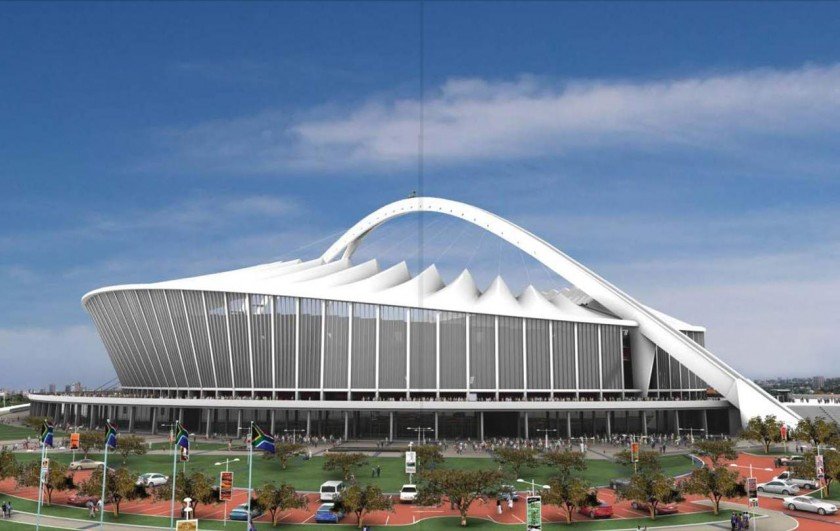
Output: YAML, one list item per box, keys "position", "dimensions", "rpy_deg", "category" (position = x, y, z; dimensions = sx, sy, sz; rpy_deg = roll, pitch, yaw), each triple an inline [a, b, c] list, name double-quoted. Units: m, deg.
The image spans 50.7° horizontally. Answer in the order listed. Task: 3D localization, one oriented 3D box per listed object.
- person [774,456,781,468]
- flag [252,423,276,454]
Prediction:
- position: [37.156, 20.334, 91.542]
  dimensions: [0.508, 0.885, 0.950]
  rpy_deg: [-9, -13, 33]
  category: "person"
- position: [-14.064, 15.435, 79.159]
  dimensions: [1.680, 2.233, 1.861]
  rpy_deg: [-3, -11, 4]
  category: "flag"
